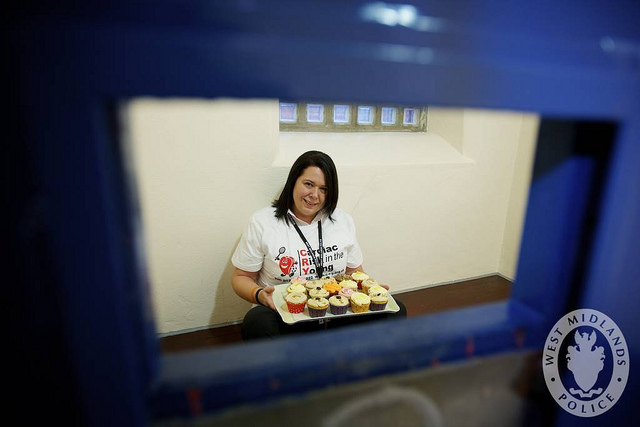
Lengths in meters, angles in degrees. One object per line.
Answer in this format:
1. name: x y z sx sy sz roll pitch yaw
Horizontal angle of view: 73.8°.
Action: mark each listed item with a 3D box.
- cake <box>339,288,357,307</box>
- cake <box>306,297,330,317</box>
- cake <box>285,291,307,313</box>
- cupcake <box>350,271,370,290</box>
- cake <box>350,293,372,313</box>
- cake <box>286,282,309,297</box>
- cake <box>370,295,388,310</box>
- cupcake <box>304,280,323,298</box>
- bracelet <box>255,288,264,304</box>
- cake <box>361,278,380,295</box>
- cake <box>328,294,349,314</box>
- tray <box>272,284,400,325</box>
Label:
1. cake: 0.087 0.262 1.340 0.052 0.053 0.051 0 2 29
2. cake: -0.006 0.270 1.237 0.054 0.038 0.054 -1 9 -13
3. cake: -0.070 0.264 1.279 0.060 0.044 0.059 -6 22 -18
4. cupcake: 0.142 0.241 1.508 0.050 0.044 0.050 1 -4 -15
5. cake: 0.127 0.278 1.315 0.065 0.046 0.060 0 17 4
6. cake: -0.074 0.236 1.324 0.043 0.037 0.043 -2 1 13
7. cake: 0.182 0.273 1.314 0.043 0.032 0.043 3 -3 -35
8. cupcake: -0.020 0.239 1.340 0.044 0.033 0.042 1 7 18
9. bracelet: -0.204 0.276 1.417 0.024 0.039 0.047 -4 17 -5
10. cake: 0.164 0.245 1.428 0.040 0.028 0.042 11 -7 -31
11. cake: 0.055 0.271 1.268 0.052 0.041 0.049 -1 17 -1
12. tray: 0.030 0.244 1.386 0.350 0.093 0.304 -1 11 -23
